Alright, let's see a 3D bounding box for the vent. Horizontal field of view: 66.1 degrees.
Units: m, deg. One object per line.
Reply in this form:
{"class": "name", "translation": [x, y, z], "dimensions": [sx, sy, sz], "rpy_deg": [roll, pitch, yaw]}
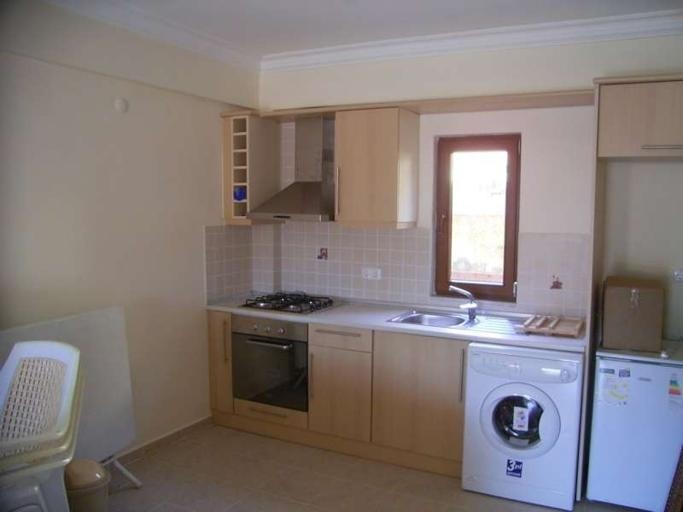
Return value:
{"class": "vent", "translation": [-0.382, -0.751, 4.443], "dimensions": [0.661, 0.849, 0.512], "rpy_deg": [2, 11, 8]}

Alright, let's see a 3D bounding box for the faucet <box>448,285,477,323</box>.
{"class": "faucet", "translation": [0.959, 0.332, 4.142], "dimensions": [0.230, 0.282, 0.567], "rpy_deg": [3, 12, 12]}

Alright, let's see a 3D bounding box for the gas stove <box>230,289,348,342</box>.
{"class": "gas stove", "translation": [-0.468, 0.480, 4.439], "dimensions": [0.486, 0.188, 0.492], "rpy_deg": [4, 8, 27]}

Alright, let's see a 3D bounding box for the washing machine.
{"class": "washing machine", "translation": [1.273, 1.144, 3.923], "dimensions": [0.955, 1.408, 0.908], "rpy_deg": [1, 2, 26]}

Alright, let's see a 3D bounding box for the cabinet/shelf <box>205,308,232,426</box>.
{"class": "cabinet/shelf", "translation": [-1.035, 0.915, 4.481], "dimensions": [0.292, 0.906, 0.088], "rpy_deg": [6, 12, 27]}

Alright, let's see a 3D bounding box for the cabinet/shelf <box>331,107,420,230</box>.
{"class": "cabinet/shelf", "translation": [0.283, -0.703, 4.230], "dimensions": [0.686, 0.928, 0.399], "rpy_deg": [1, 11, 4]}
